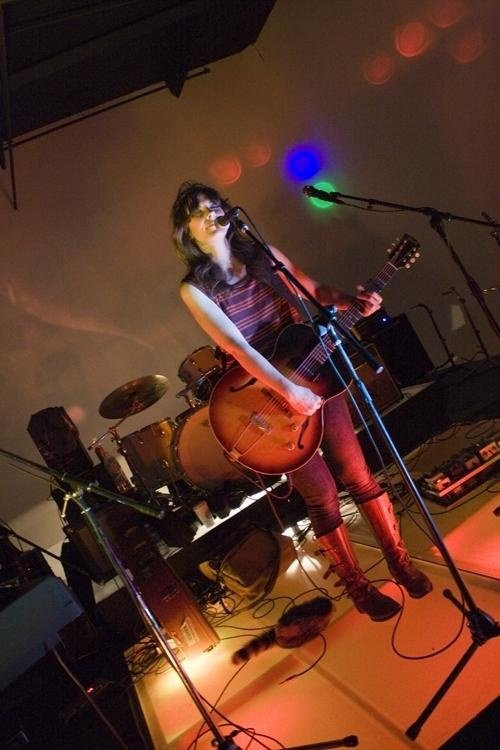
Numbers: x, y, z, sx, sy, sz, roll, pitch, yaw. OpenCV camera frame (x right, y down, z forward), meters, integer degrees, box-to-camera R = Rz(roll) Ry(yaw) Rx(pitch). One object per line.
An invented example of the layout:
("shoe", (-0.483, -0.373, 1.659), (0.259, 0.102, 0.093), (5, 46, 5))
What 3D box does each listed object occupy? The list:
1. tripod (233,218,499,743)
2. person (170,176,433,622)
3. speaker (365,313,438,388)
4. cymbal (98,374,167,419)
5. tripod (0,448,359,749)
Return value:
("tripod", (0.272, 0.194, 1.915), (0.210, 1.713, 0.606), (-41, -38, 21))
("person", (0.173, -0.044, 2.270), (0.787, 1.936, 0.243), (-17, -19, 24))
("speaker", (1.166, -0.201, 4.500), (0.489, 0.667, 0.152), (-35, 23, -16))
("cymbal", (-0.879, 0.174, 4.228), (0.550, 0.177, 0.571), (-32, -2, -6))
("tripod", (-0.291, 1.039, 2.574), (0.321, 1.403, 0.254), (-37, 3, 29))
